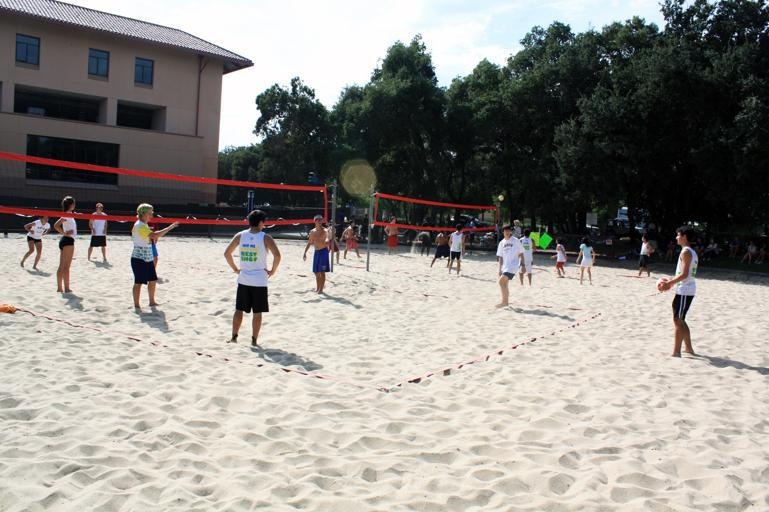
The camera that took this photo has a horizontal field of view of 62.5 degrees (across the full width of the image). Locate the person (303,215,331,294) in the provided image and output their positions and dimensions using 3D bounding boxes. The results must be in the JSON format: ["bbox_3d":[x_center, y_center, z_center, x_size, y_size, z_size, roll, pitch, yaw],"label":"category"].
[{"bbox_3d":[-1.257,-0.059,12.085,0.365,1.435,1.082,3,4,-7],"label":"person"}]

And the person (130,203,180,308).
[{"bbox_3d":[-3.802,-0.022,10.319,0.587,1.655,1.276,2,4,-22],"label":"person"}]

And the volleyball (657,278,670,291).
[{"bbox_3d":[3.982,0.415,9.040,0.151,0.180,0.418,5,4,22],"label":"volleyball"}]

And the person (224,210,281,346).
[{"bbox_3d":[-1.875,0.280,8.894,0.735,1.851,0.789,3,4,-10],"label":"person"}]
